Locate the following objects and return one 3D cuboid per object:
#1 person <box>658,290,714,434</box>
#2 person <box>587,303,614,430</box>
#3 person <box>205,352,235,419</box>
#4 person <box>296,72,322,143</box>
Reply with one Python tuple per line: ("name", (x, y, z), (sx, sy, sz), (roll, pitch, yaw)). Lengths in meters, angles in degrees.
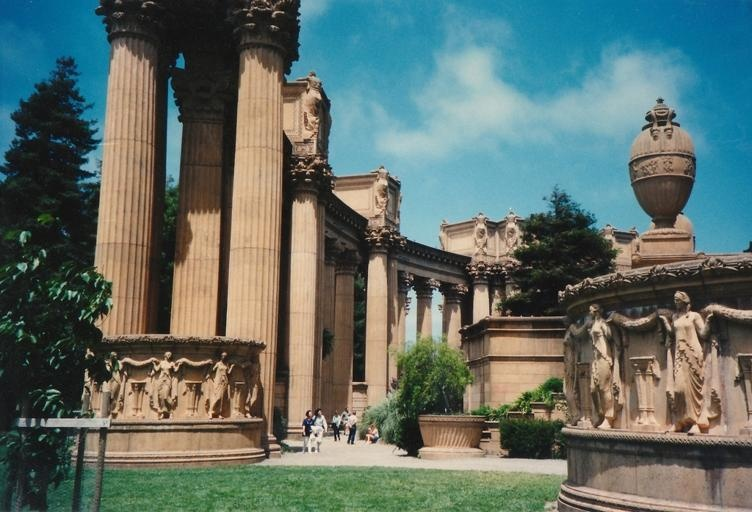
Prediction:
("person", (7.271, 2.438, 24.222), (0.977, 3.170, 0.676), (-2, -14, 12))
("person", (5.542, 2.642, 25.467), (0.548, 2.975, 0.748), (-2, -14, 11))
("person", (-4.999, 4.148, 33.940), (0.773, 2.095, 0.630), (10, -16, -34))
("person", (-2.884, -6.879, 48.416), (1.023, 3.591, 0.990), (5, -14, -18))
